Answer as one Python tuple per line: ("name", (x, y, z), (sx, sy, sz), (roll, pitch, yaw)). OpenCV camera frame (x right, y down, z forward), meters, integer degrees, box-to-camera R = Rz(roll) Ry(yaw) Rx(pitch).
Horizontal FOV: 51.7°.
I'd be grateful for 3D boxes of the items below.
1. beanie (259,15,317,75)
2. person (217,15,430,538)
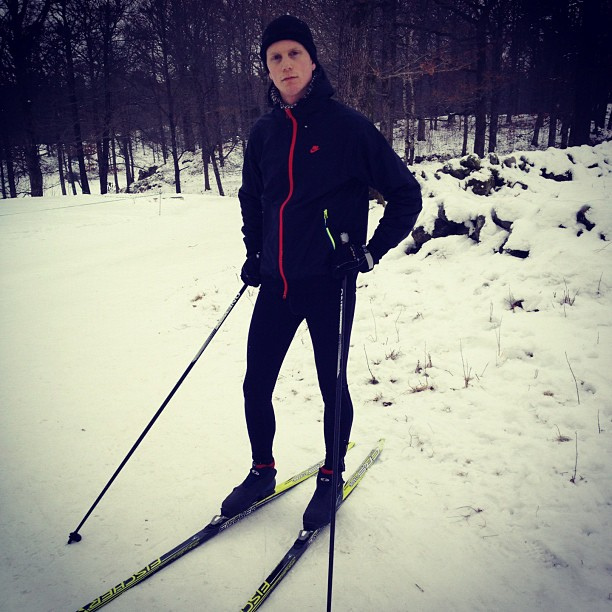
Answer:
("beanie", (-0.127, -1.878, 4.556), (0.415, 0.381, 0.262), (-2, 12, -3))
("person", (0.023, -0.189, 4.674), (1.386, 3.702, 0.814), (2, 12, 16))
